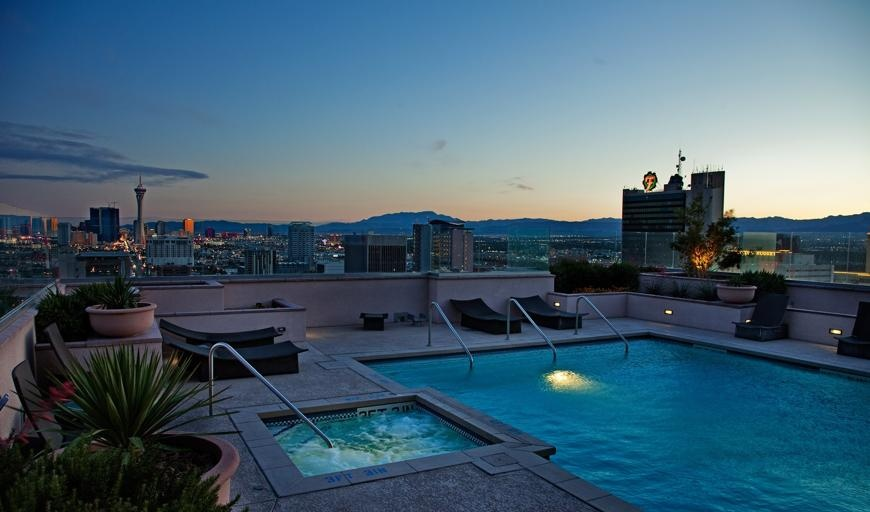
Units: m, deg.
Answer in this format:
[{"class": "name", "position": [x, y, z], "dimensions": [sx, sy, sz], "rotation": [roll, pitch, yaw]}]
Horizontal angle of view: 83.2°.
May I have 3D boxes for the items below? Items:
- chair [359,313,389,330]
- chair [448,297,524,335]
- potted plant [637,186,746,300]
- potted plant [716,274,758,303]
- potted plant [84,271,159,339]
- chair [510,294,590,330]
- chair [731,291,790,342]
[{"class": "chair", "position": [-1.672, 1.800, 13.438], "dimensions": [0.758, 0.340, 0.429], "rotation": [0, 0, -3]}, {"class": "chair", "position": [1.561, 1.783, 13.446], "dimensions": [0.905, 0.488, 1.480], "rotation": [9, 1, 43]}, {"class": "potted plant", "position": [9.523, -0.818, 18.058], "dimensions": [2.498, 3.281, 2.176], "rotation": [-10, -13, 16]}, {"class": "potted plant", "position": [8.783, 0.977, 14.110], "dimensions": [1.039, 0.469, 0.911], "rotation": [-1, 0, -21]}, {"class": "potted plant", "position": [-5.379, 0.835, 8.361], "dimensions": [0.954, 0.785, 1.068], "rotation": [9, 9, 25]}, {"class": "chair", "position": [3.236, 1.666, 14.175], "dimensions": [1.070, 0.581, 1.721], "rotation": [-3, 9, -38]}, {"class": "chair", "position": [8.759, 1.622, 13.155], "dimensions": [1.389, 1.172, 0.659], "rotation": [-3, 3, -23]}]
